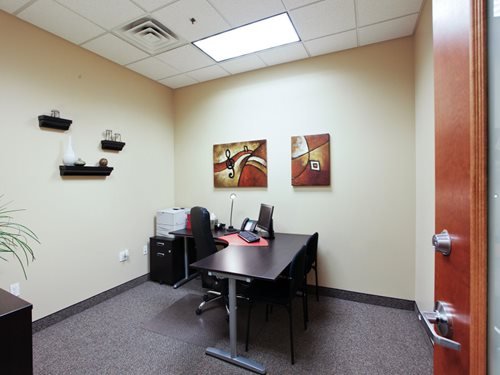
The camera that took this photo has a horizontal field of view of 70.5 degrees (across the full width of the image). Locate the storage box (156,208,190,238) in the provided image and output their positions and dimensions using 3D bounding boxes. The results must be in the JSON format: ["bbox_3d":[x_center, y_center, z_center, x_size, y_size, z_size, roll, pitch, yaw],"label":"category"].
[{"bbox_3d":[-1.050,0.482,4.788,0.328,0.382,0.367,-1,-4,26],"label":"storage box"}]

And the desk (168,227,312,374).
[{"bbox_3d":[0.049,1.001,3.478,0.780,0.834,1.181,6,15,26],"label":"desk"}]

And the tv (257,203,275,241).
[{"bbox_3d":[0.185,0.414,4.127,0.145,0.378,0.348,1,-3,-19],"label":"tv"}]

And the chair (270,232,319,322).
[{"bbox_3d":[0.536,0.863,3.719,0.624,1.232,0.652,-1,-3,13],"label":"chair"}]

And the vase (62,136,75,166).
[{"bbox_3d":[-1.948,-0.389,3.790,0.181,0.346,0.190,-1,-9,-25],"label":"vase"}]
